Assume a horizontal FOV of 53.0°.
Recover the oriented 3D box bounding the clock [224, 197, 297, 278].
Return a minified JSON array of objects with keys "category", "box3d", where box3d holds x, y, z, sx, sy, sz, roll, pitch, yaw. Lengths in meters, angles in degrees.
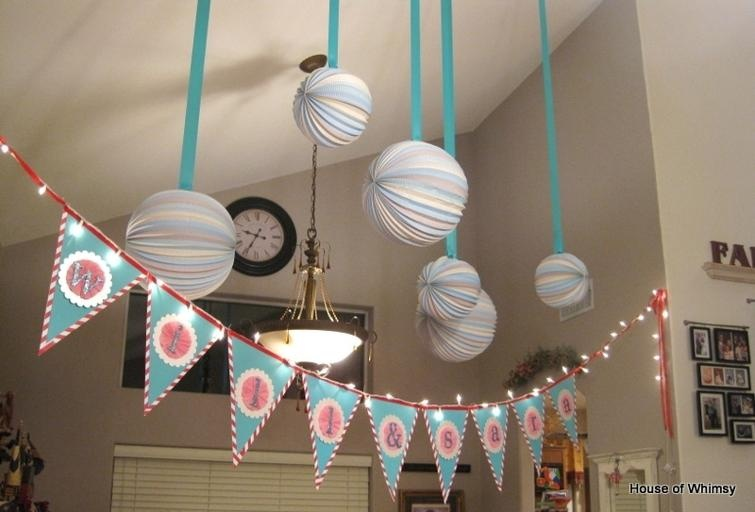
[{"category":"clock","box3d":[-1.114,-0.156,7.175,0.691,0.779,0.094,4,-19,-20]}]
